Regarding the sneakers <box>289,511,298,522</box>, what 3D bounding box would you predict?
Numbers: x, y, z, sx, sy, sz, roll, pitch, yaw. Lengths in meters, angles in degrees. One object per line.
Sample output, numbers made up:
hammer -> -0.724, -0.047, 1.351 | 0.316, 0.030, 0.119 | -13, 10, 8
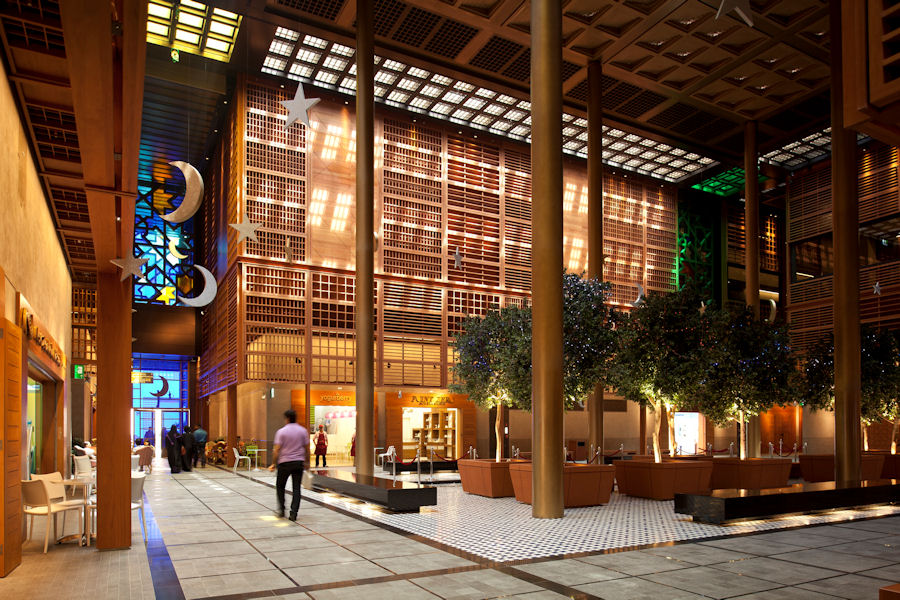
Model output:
sneakers -> -3.512, 4.905, 16.755 | 0.193, 0.228, 0.196 | 0, -7, -9

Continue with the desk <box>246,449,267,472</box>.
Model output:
desk -> -8.070, 6.757, 31.390 | 0.925, 0.696, 0.938 | 1, -8, -10

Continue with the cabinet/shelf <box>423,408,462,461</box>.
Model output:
cabinet/shelf -> -0.326, 6.094, 33.152 | 1.956, 2.893, 0.836 | -1, -10, 1
